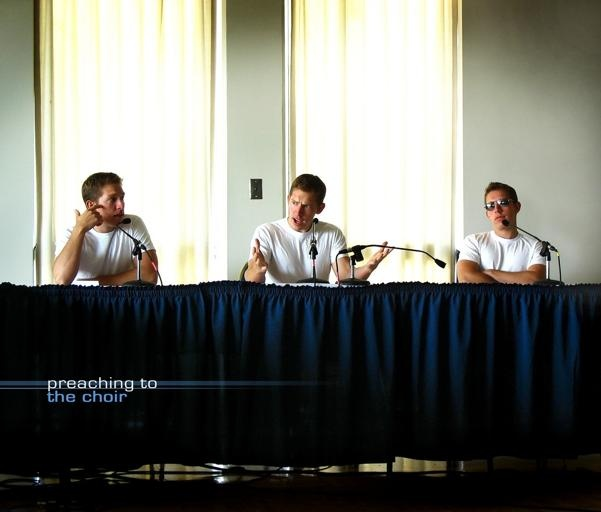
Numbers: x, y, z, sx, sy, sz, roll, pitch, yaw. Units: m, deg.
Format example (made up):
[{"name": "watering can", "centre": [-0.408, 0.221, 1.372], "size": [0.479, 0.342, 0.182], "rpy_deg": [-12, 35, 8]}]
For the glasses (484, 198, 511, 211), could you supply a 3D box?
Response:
[{"name": "glasses", "centre": [1.099, -0.283, 4.357], "size": [0.152, 0.080, 0.181], "rpy_deg": [2, 9, 11]}]
